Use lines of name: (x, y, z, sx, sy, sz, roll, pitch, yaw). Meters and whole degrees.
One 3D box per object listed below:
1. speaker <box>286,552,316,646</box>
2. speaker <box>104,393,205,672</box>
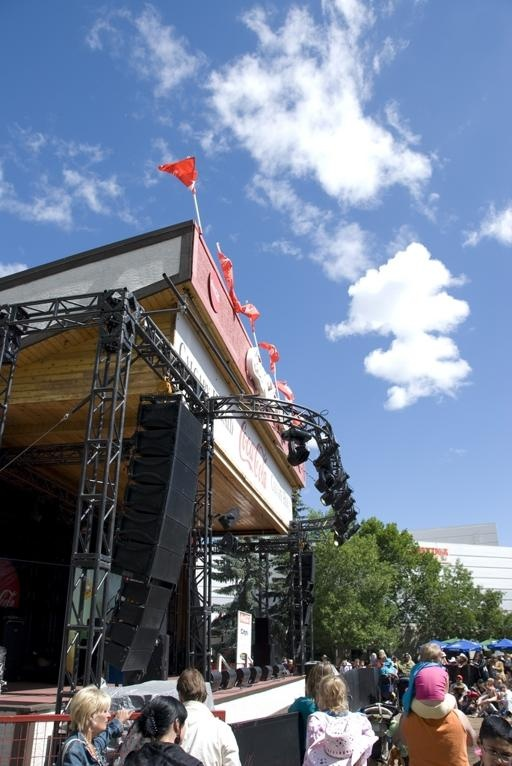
speaker: (1.606, 7.644, 22.906, 0.840, 3.477, 1.688, 0, -19, 4)
speaker: (-1.484, 1.952, 8.878, 0.706, 3.849, 1.490, -6, -20, 20)
